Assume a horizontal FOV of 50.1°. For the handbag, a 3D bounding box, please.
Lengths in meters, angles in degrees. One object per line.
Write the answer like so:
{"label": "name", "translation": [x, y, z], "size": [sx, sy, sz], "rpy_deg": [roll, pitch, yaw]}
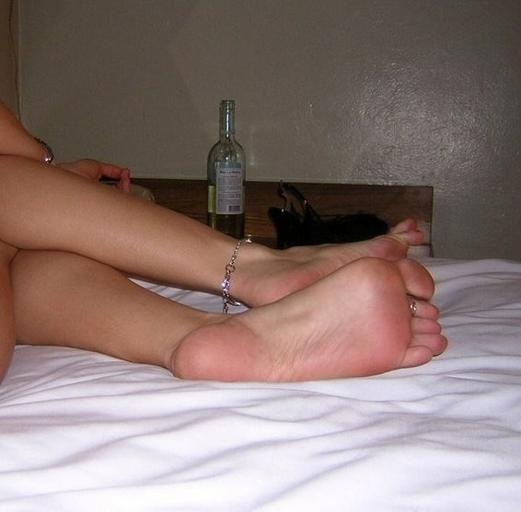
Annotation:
{"label": "handbag", "translation": [0.149, -0.096, 1.354], "size": [0.275, 0.162, 0.097], "rpy_deg": [-11, -2, 44]}
